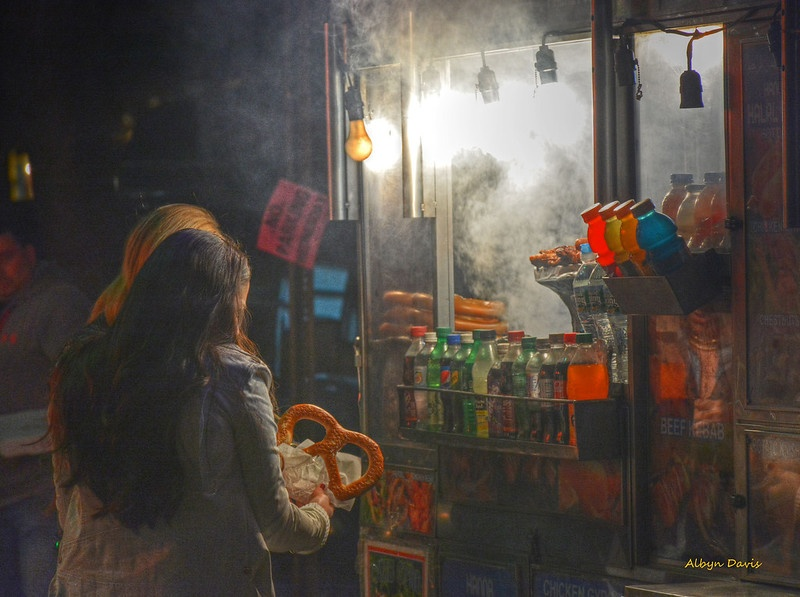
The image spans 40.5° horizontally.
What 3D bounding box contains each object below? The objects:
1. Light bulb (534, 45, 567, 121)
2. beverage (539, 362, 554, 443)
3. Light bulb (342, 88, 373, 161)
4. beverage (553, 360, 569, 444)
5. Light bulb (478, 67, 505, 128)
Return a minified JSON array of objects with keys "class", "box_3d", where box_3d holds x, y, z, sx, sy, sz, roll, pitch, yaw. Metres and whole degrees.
[{"class":"Light bulb","box_3d":[0.533,-0.809,3.962,0.099,0.214,0.183,-1,-2,6]},{"class":"beverage","box_3d":[0.482,0.331,3.615,0.041,0.297,0.066,0,-2,-11]},{"class":"Light bulb","box_3d":[-0.162,-0.666,4.094,0.098,0.276,0.063,-1,-2,7]},{"class":"beverage","box_3d":[0.527,0.338,3.585,0.028,0.283,0.065,1,-2,-34]},{"class":"Light bulb","box_3d":[0.326,-0.773,4.062,0.092,0.186,0.102,-1,-2,5]}]
